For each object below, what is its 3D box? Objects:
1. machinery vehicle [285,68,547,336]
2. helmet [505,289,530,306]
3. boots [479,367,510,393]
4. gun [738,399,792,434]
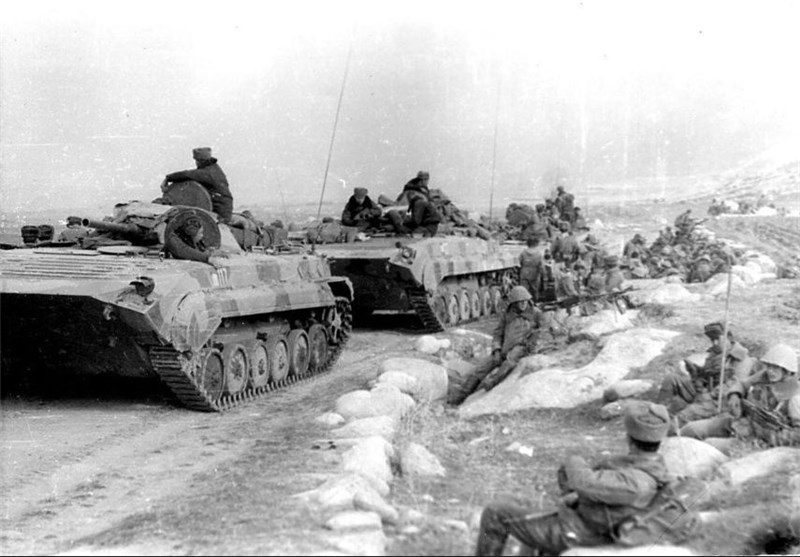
[{"bbox_3d":[0.300,-0.867,18.759,4.267,3.248,7.069,8,9,24],"label":"machinery vehicle"},{"bbox_3d":[1.914,0.323,11.294,0.260,0.214,0.371,-3,-13,2],"label":"helmet"},{"bbox_3d":[1.470,1.551,10.619,0.473,0.158,0.283,-37,38,-27],"label":"boots"},{"bbox_3d":[3.404,1.325,6.457,0.107,0.196,0.544,10,14,-20],"label":"gun"}]
